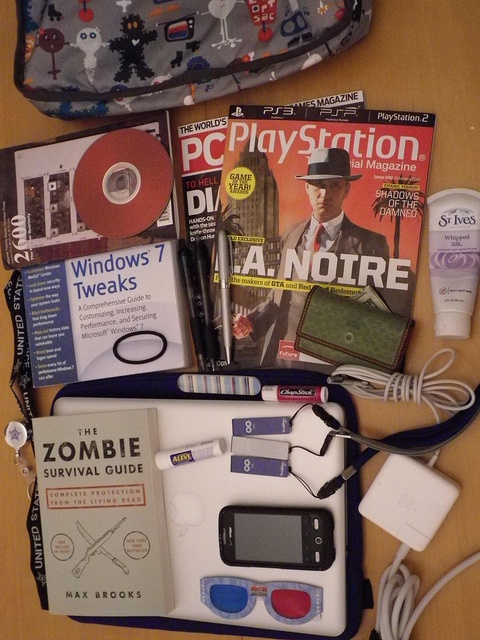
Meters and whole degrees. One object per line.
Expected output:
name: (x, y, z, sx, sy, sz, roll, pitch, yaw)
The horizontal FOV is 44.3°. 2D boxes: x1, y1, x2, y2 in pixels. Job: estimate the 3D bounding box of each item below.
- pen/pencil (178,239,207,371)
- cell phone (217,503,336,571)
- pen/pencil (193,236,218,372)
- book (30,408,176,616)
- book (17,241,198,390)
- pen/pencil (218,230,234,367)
pen/pencil: (-0.061, -0.023, 0.805, 0.023, 0.225, 0.023, -9, -4, 3)
cell phone: (0.033, 0.269, 0.730, 0.135, 0.071, 0.020, -6, -14, 20)
pen/pencil: (-0.045, -0.022, 0.780, 0.022, 0.206, 0.020, -5, -1, 13)
book: (-0.185, 0.246, 0.782, 0.172, 0.262, 0.024, -5, 3, 9)
book: (-0.184, -0.004, 0.810, 0.252, 0.187, 0.051, -10, -3, 15)
pen/pencil: (-0.017, -0.028, 0.768, 0.019, 0.174, 0.014, -2, 0, 8)
